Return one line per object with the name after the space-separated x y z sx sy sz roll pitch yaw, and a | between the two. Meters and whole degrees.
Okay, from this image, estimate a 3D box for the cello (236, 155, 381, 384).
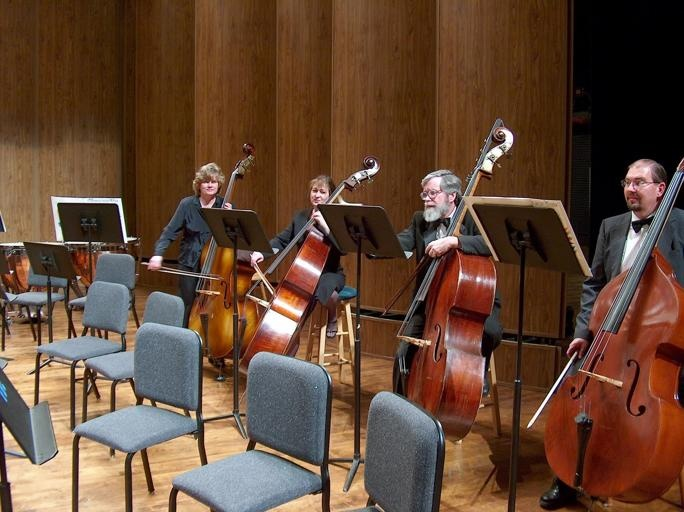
-0.209 0.146 5.582 0.822 2.241 0.647 15 -30 -14 | cello

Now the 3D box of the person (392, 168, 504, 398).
0.679 -0.011 4.774 0.469 1.785 0.644 4 -12 -17 | person

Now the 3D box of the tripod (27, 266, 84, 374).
-2.363 0.415 5.839 0.454 1.008 0.485 -3 -2 19 | tripod

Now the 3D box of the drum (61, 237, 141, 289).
-2.738 -0.015 7.880 0.701 0.592 0.740 0 -2 5 | drum

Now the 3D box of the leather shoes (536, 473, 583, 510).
1.261 1.403 4.282 0.294 0.274 0.109 2 -5 -22 | leather shoes

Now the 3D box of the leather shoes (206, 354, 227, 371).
-1.093 0.905 6.346 0.194 0.089 0.144 10 11 15 | leather shoes
